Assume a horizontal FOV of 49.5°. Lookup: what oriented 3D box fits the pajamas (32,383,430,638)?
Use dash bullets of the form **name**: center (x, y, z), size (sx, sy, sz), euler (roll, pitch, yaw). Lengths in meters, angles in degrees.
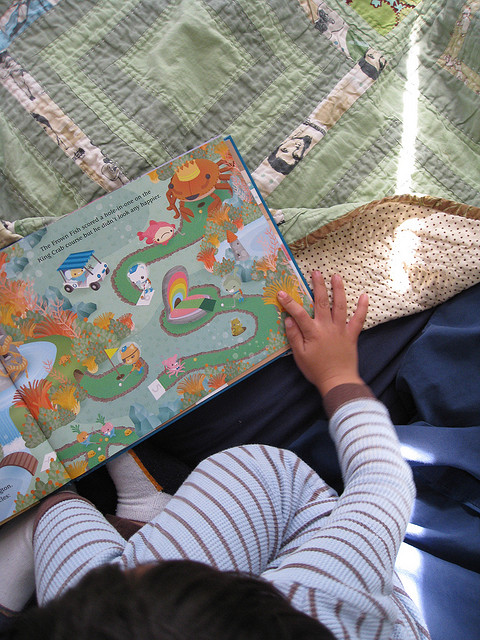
- **pajamas**: center (-0.020, 0.203, 0.858), size (0.693, 0.436, 0.258), euler (-1, -58, -3)
